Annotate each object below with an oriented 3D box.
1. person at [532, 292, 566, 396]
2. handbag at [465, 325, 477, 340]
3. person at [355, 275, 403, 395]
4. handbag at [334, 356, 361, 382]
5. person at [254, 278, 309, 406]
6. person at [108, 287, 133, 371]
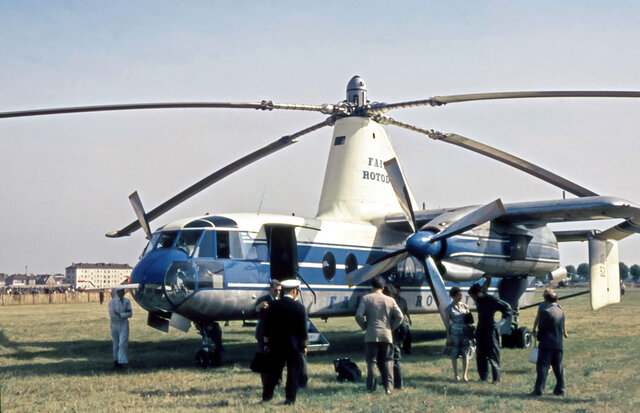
[{"bbox_3d":[6.260,3.655,18.008,0.837,2.803,0.864,-3,-6,22],"label":"person"},{"bbox_3d":[4.351,3.604,19.011,0.420,0.543,0.306,-3,6,7],"label":"handbag"},{"bbox_3d":[1.619,3.465,17.935,1.190,3.098,0.651,-1,-5,4],"label":"person"},{"bbox_3d":[0.738,4.790,19.397,0.529,0.692,0.707,3,-14,-34],"label":"handbag"},{"bbox_3d":[-0.922,3.521,17.326,1.132,3.170,0.543,-1,-5,-5],"label":"person"},{"bbox_3d":[-6.345,3.805,20.906,0.656,2.479,1.193,1,-6,-18],"label":"person"}]
